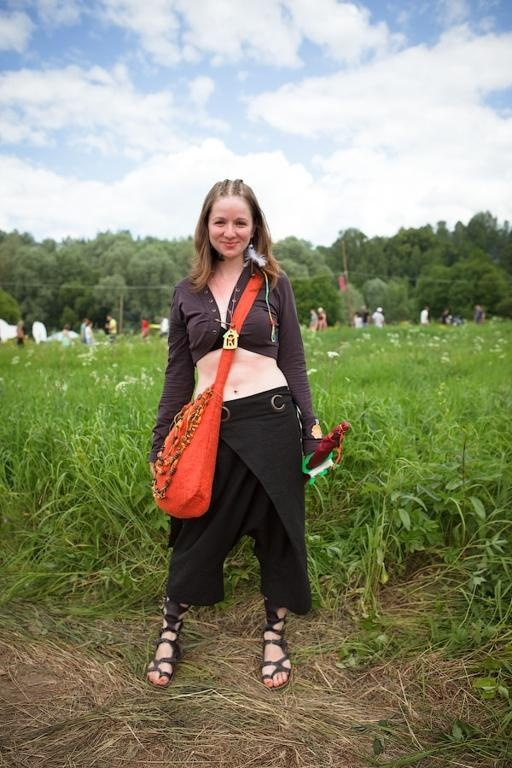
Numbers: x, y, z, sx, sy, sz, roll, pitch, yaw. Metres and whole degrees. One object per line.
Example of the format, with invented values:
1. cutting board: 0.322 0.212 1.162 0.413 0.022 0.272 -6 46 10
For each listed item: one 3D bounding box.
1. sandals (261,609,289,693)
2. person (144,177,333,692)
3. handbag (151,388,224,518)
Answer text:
1. sandals: 0.074 1.106 2.252 0.098 0.130 0.306 -1 -6 2
2. person: -0.072 0.210 2.276 0.690 2.005 0.397 0 6 -10
3. handbag: -0.262 0.259 2.155 0.250 0.485 0.183 6 8 36
